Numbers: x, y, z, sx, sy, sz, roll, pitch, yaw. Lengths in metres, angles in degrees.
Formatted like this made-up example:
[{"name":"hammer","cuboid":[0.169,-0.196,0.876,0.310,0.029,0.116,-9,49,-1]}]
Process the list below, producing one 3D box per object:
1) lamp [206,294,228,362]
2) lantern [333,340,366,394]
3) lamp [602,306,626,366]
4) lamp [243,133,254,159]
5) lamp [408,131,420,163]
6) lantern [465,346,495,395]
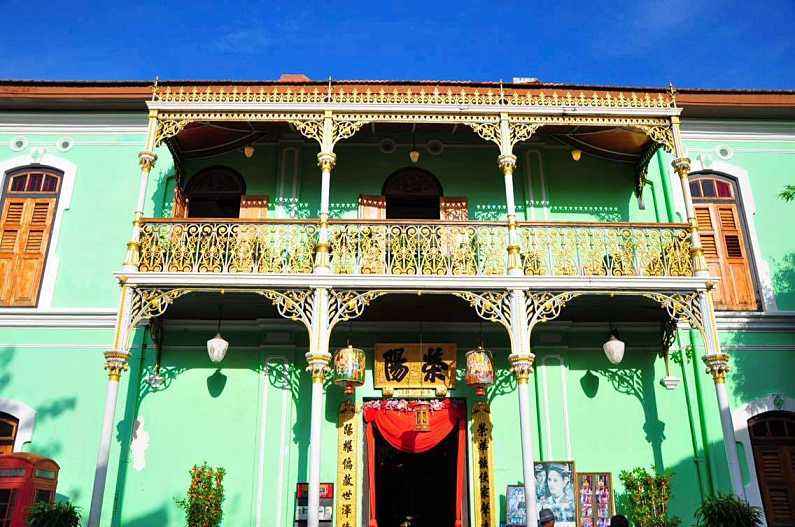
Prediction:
[{"name":"lamp","cuboid":[-3.922,1.573,14.814,0.478,1.159,0.749,5,-20,-15]},{"name":"lantern","cuboid":[-1.032,2.273,14.439,0.684,1.071,0.674,-14,-28,21]},{"name":"lamp","cuboid":[4.800,1.681,15.007,0.495,1.080,0.749,-6,-20,18]},{"name":"lamp","cuboid":[-3.540,-2.730,16.012,0.280,0.419,0.406,2,-19,-6]},{"name":"lamp","cuboid":[0.408,-2.785,16.125,0.280,0.718,0.401,0,-19,0]},{"name":"lantern","cuboid":[1.773,2.361,14.557,0.845,1.353,0.813,0,-22,6]}]
